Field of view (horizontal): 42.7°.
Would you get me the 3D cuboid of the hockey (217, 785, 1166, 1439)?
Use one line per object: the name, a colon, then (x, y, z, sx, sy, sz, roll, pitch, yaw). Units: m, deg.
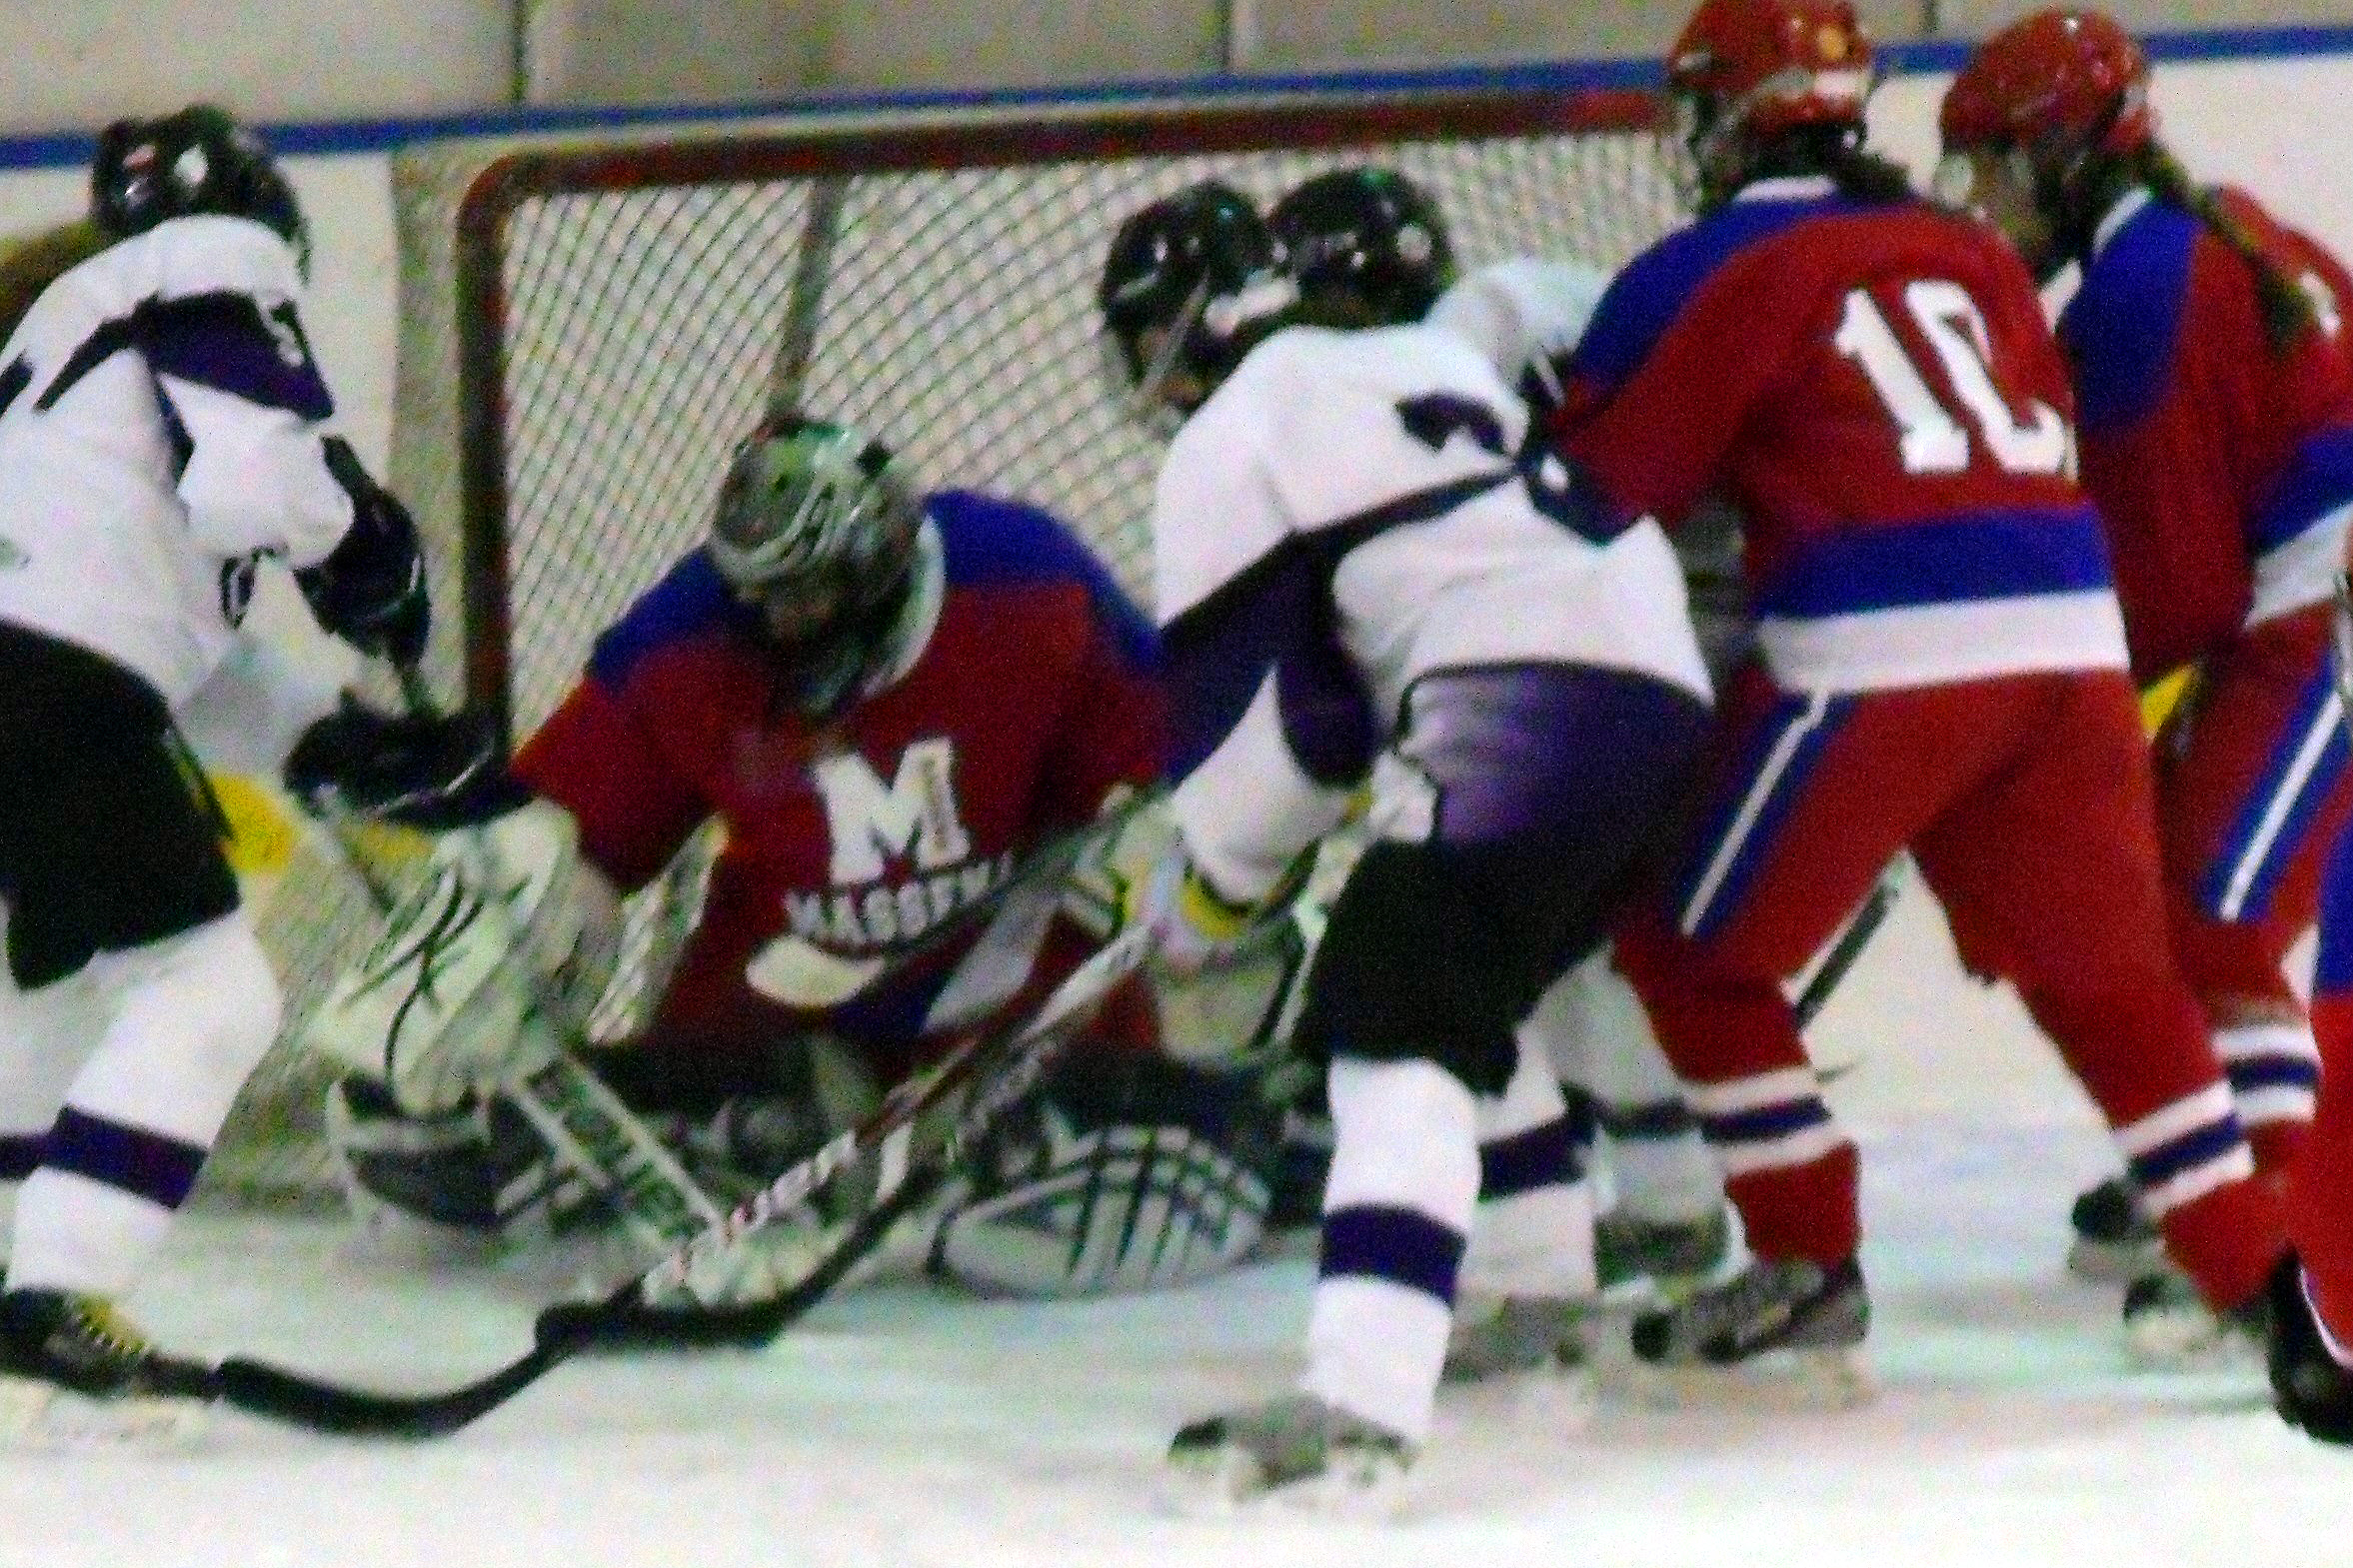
hockey: (-0.567, 0.595, 4.032, 1.772, 0.117, 0.523, -29, -8, -11)

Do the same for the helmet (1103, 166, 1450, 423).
helmet: (0.133, -0.703, 4.268, 0.448, 0.312, 0.208, -8, -5, 11)

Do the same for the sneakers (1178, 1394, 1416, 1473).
sneakers: (0.136, 0.774, 3.559, 0.284, 0.090, 0.061, 2, 12, 11)

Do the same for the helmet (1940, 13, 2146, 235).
helmet: (1.297, -0.990, 4.474, 0.329, 0.258, 0.237, 13, -3, -6)

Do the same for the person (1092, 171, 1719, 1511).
person: (0.314, 0.018, 3.890, 0.747, 1.527, 1.036, 0, 12, -1)

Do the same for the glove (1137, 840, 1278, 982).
glove: (0.021, 0.179, 4.211, 0.188, 0.174, 0.206, -2, -9, 13)

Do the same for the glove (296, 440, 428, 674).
glove: (-1.199, -0.320, 4.540, 0.176, 0.121, 0.418, 12, -15, -3)

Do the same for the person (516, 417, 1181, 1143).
person: (-0.462, 0.042, 4.285, 0.968, 0.635, 1.095, 6, -35, 31)

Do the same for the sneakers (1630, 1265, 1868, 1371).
sneakers: (0.733, 0.664, 3.880, 0.210, 0.101, 0.155, -13, -6, 20)

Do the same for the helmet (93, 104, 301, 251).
helmet: (-1.346, -0.844, 4.170, 0.246, 0.178, 0.225, -22, -6, -46)
